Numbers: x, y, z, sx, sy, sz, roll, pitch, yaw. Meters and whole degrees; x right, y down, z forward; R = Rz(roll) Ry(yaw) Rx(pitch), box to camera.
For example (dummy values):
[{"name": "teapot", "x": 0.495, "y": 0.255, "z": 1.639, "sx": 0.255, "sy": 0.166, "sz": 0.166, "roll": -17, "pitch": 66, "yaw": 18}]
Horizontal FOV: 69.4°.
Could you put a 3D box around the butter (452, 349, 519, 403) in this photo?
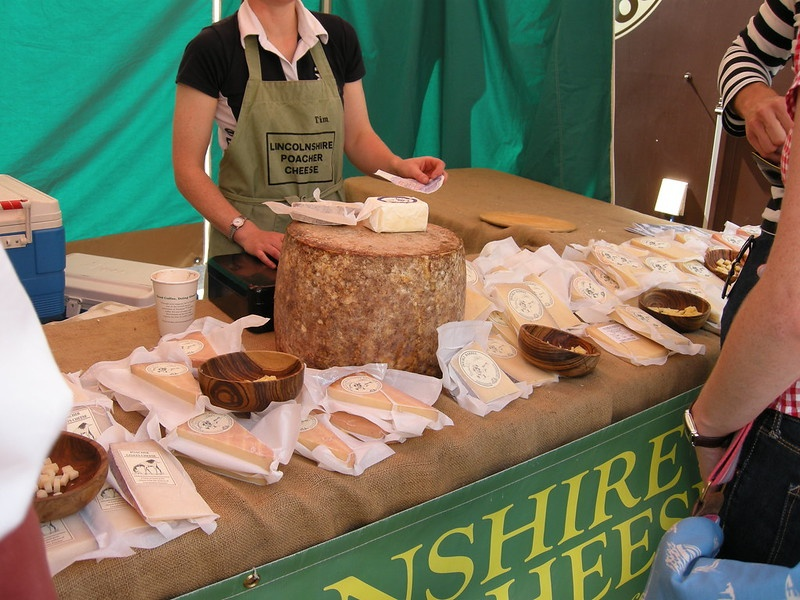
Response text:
[{"name": "butter", "x": 0.170, "y": 0.154, "z": 1.175, "sx": 0.093, "sy": 0.030, "sz": 0.124, "roll": -15, "pitch": 53, "yaw": -40}]

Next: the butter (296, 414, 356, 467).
[{"name": "butter", "x": -0.127, "y": 0.235, "z": 0.982, "sx": 0.050, "sy": 0.028, "sz": 0.117, "roll": -13, "pitch": 33, "yaw": -43}]

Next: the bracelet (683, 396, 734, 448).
[{"name": "bracelet", "x": 0.512, "y": 0.210, "z": 0.983, "sx": 0.075, "sy": 0.081, "sz": 0.081, "roll": -3, "pitch": 0, "yaw": 9}]

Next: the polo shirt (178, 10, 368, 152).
[{"name": "polo shirt", "x": -0.402, "y": -0.690, "z": 1.862, "sx": 0.528, "sy": 0.417, "sz": 0.249, "roll": -14, "pitch": 40, "yaw": -25}]

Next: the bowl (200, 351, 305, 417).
[{"name": "bowl", "x": -0.264, "y": 0.150, "z": 1.032, "sx": 0.183, "sy": 0.080, "sz": 0.145, "roll": 4, "pitch": 19, "yaw": 2}]

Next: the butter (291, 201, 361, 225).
[{"name": "butter", "x": -0.168, "y": -0.196, "z": 1.291, "sx": 0.087, "sy": 0.029, "sz": 0.086, "roll": 5, "pitch": 16, "yaw": 9}]

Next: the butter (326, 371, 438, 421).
[{"name": "butter", "x": -0.024, "y": 0.155, "z": 1.048, "sx": 0.175, "sy": 0.032, "sz": 0.084, "roll": 16, "pitch": 19, "yaw": 23}]

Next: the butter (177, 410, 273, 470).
[{"name": "butter", "x": -0.279, "y": 0.223, "z": 0.941, "sx": 0.112, "sy": 0.030, "sz": 0.088, "roll": 15, "pitch": 17, "yaw": 18}]

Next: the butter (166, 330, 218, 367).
[{"name": "butter", "x": -0.435, "y": 0.091, "z": 1.192, "sx": 0.067, "sy": 0.019, "sz": 0.093, "roll": -1, "pitch": 21, "yaw": -21}]

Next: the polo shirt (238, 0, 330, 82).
[{"name": "polo shirt", "x": -0.378, "y": -0.808, "z": 1.820, "sx": 0.235, "sy": 0.224, "sz": 0.133, "roll": -14, "pitch": 33, "yaw": -23}]

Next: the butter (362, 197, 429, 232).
[{"name": "butter", "x": -0.014, "y": -0.186, "z": 1.283, "sx": 0.150, "sy": 0.063, "sz": 0.099, "roll": 2, "pitch": 19, "yaw": -3}]

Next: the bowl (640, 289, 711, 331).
[{"name": "bowl", "x": 0.708, "y": 0.020, "z": 1.495, "sx": 0.132, "sy": 0.048, "sz": 0.127, "roll": -1, "pitch": 26, "yaw": 0}]

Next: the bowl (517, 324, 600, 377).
[{"name": "bowl", "x": 0.355, "y": 0.117, "z": 1.295, "sx": 0.185, "sy": 0.068, "sz": 0.169, "roll": 11, "pitch": 16, "yaw": -3}]

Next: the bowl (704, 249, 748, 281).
[{"name": "bowl", "x": 0.876, "y": -0.091, "z": 1.555, "sx": 0.102, "sy": 0.034, "sz": 0.101, "roll": -3, "pitch": 22, "yaw": 1}]

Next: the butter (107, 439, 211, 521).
[{"name": "butter", "x": -0.378, "y": 0.272, "z": 0.866, "sx": 0.123, "sy": 0.037, "sz": 0.224, "roll": 19, "pitch": 7, "yaw": -43}]
